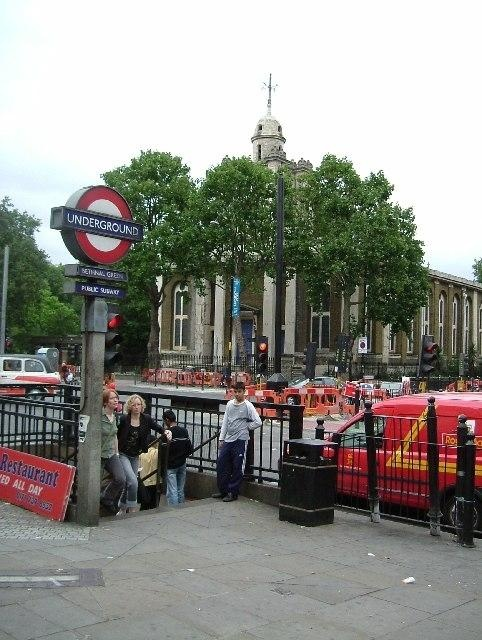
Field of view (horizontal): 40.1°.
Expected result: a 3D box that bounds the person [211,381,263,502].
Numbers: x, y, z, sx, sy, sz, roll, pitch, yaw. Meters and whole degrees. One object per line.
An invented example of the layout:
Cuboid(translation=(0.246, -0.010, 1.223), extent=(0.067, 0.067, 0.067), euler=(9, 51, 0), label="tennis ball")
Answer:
Cuboid(translation=(-0.051, 1.605, 8.752), extent=(0.574, 1.035, 0.493), euler=(4, -3, 9), label="person")

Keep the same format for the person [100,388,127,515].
Cuboid(translation=(-1.618, 1.782, 8.547), extent=(0.362, 1.279, 1.535), euler=(5, -3, -8), label="person")

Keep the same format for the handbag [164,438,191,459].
Cuboid(translation=(-0.852, 1.746, 9.243), extent=(0.424, 0.440, 0.242), euler=(2, -6, -12), label="handbag")
